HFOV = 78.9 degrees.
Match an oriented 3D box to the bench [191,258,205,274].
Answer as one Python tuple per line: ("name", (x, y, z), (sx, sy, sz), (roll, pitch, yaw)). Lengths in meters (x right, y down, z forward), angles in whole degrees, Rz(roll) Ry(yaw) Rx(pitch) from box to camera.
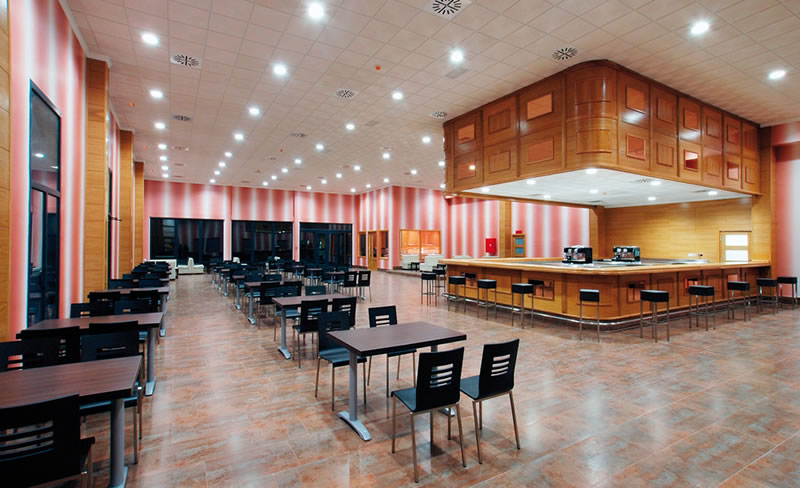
("bench", (-9.751, 1.052, 22.885), (0.781, 0.648, 0.757), (-1, -1, -20))

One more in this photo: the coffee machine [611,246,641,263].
("coffee machine", (6.951, 0.290, 14.481), (0.648, 0.539, 0.938), (-1, 2, -37))

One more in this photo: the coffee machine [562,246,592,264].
("coffee machine", (5.435, 0.320, 14.452), (0.629, 0.482, 0.808), (2, -4, -28))
